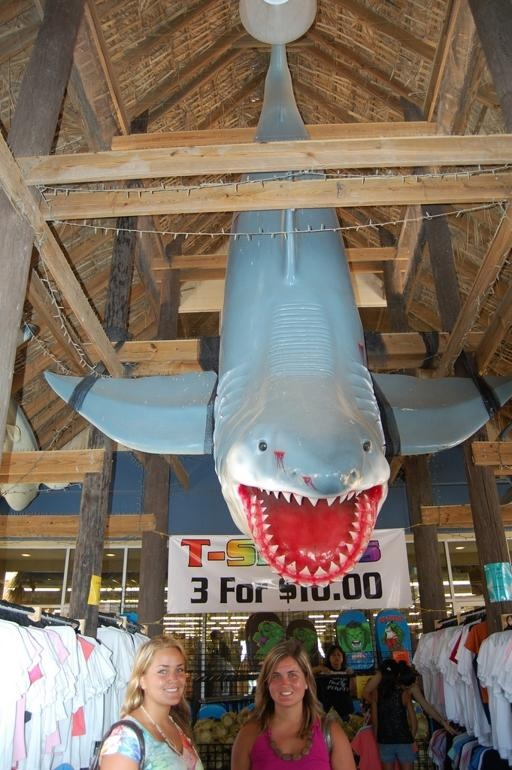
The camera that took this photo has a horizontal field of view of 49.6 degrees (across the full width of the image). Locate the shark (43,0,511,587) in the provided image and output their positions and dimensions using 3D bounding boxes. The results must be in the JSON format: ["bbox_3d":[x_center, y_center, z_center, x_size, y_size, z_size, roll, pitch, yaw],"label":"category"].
[{"bbox_3d":[0.119,-0.795,4.490,2.086,4.788,2.106,-24,-32,35],"label":"shark"}]

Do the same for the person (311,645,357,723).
[{"bbox_3d":[0.982,3.939,7.036,0.582,1.356,0.358,1,15,16],"label":"person"}]
